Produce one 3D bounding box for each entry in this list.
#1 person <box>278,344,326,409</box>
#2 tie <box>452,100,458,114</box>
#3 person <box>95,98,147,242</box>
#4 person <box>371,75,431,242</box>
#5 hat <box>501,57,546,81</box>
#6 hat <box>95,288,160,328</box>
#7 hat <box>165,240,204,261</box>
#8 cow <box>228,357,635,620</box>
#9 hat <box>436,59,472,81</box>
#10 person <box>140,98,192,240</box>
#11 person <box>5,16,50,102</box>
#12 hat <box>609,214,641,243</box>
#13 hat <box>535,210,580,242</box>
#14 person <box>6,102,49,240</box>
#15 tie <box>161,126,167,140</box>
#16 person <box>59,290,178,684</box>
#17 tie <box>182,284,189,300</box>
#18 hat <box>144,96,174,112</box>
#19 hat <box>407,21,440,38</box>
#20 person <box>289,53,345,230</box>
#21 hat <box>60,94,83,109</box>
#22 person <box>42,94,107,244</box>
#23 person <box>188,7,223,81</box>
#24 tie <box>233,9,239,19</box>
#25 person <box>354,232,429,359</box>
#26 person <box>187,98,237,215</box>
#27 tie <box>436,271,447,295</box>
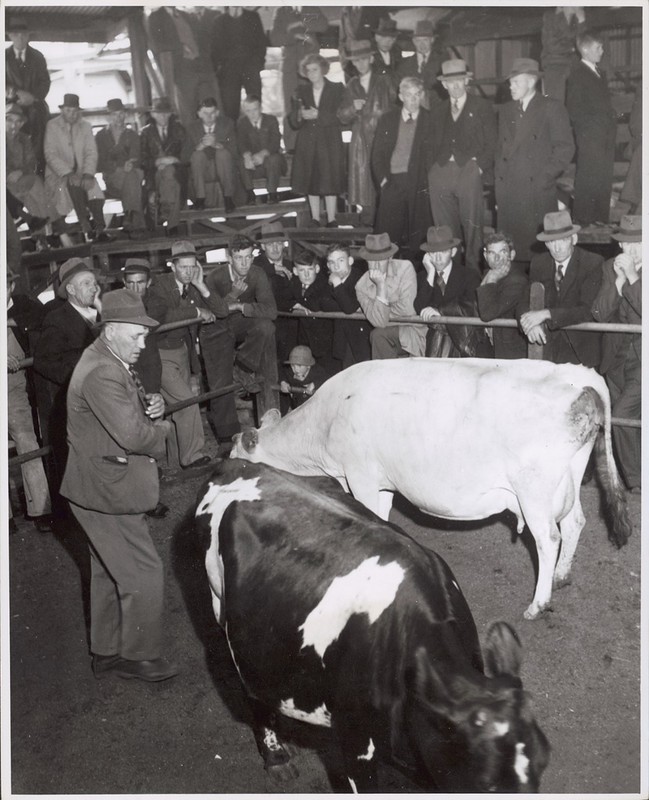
[{"bbox_3d":[-0.187,-0.197,6.342,0.298,0.770,0.266,13,55,11],"label":"person"},{"bbox_3d":[1.360,-3.038,7.371,0.062,0.106,0.031,5,1,39],"label":"tie"},{"bbox_3d":[-3.054,-3.518,10.698,0.538,2.081,1.088,-3,-21,-8],"label":"person"},{"bbox_3d":[0.960,-2.681,8.323,0.669,2.068,0.634,-3,46,4],"label":"person"},{"bbox_3d":[1.918,-3.120,6.739,0.257,0.145,0.275,2,38,5],"label":"hat"},{"bbox_3d":[-1.017,-0.463,3.632,0.200,0.119,0.195,8,13,0],"label":"hat"},{"bbox_3d":[-1.371,-1.433,6.904,0.287,0.173,0.378,-4,8,-15],"label":"hat"},{"bbox_3d":[0.505,0.477,4.508,2.322,1.666,0.714,3,16,21],"label":"cow"},{"bbox_3d":[1.341,-3.387,7.283,0.289,0.186,0.275,0,20,11],"label":"hat"},{"bbox_3d":[-2.422,-3.427,10.846,0.511,2.116,0.648,-2,2,-6],"label":"person"},{"bbox_3d":[-4.204,-4.644,9.951,0.604,0.975,0.476,-15,21,-32],"label":"person"},{"bbox_3d":[2.327,-1.293,5.406,0.124,0.214,0.350,-7,20,-12],"label":"hat"},{"bbox_3d":[1.847,-1.342,5.544,0.222,0.121,0.302,-5,42,42],"label":"hat"},{"bbox_3d":[-4.298,-3.278,10.152,0.527,1.760,0.442,-11,18,-24],"label":"person"},{"bbox_3d":[-2.426,-4.037,10.721,0.092,0.160,0.032,1,6,-3],"label":"tie"},{"bbox_3d":[-1.114,0.553,3.895,0.598,2.284,0.468,-8,17,-17],"label":"person"},{"bbox_3d":[-1.325,-1.030,6.767,0.049,0.127,0.026,1,-9,-1],"label":"tie"},{"bbox_3d":[-2.477,-4.498,10.810,0.318,0.227,0.394,-8,20,-11],"label":"hat"},{"bbox_3d":[1.217,-4.428,8.459,0.172,0.198,0.350,11,25,38],"label":"hat"},{"bbox_3d":[-0.071,-3.623,10.009,0.802,2.258,0.359,3,17,20],"label":"person"},{"bbox_3d":[-3.624,-4.285,10.147,0.206,0.136,0.239,-14,58,-31],"label":"hat"},{"bbox_3d":[-3.709,-3.365,10.437,0.793,2.060,0.385,-10,18,-22],"label":"person"},{"bbox_3d":[-1.868,-5.732,11.229,0.563,1.486,0.348,4,10,16],"label":"person"},{"bbox_3d":[-1.323,-5.835,10.715,0.065,0.076,0.020,6,55,-4],"label":"tie"},{"bbox_3d":[0.567,-0.886,6.087,0.566,0.993,0.768,-4,18,-2],"label":"person"},{"bbox_3d":[-1.704,-3.705,10.820,0.752,1.638,0.365,-8,17,-14],"label":"person"},{"bbox_3d":[1.024,-1.021,6.223,0.052,0.232,0.011,-7,-25,18],"label":"tie"}]
